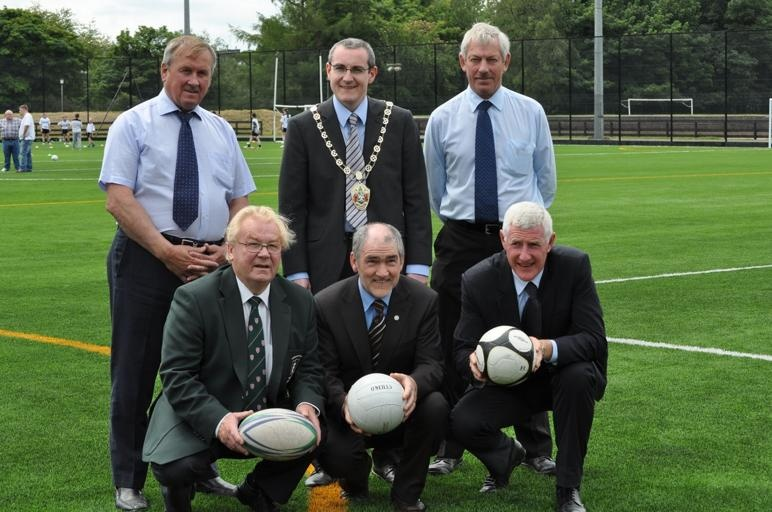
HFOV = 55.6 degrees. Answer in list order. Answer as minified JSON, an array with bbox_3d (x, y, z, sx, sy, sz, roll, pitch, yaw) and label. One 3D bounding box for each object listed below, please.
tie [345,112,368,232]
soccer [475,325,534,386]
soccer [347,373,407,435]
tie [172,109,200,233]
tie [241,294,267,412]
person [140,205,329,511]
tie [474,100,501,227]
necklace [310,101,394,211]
[{"bbox_3d":[-0.271,-0.663,5.803,0.213,0.810,0.238,0,-2,-5],"label":"tie"},{"bbox_3d":[0.835,0.717,5.110,0.402,0.433,0.183,0,15,3],"label":"soccer"},{"bbox_3d":[-0.054,0.946,5.026,0.374,0.378,0.404,4,4,35],"label":"soccer"},{"bbox_3d":[-1.424,-0.639,5.186,0.184,0.757,0.180,0,-2,-15],"label":"tie"},{"bbox_3d":[-0.857,0.665,4.866,0.170,0.664,0.182,1,0,-2],"label":"tie"},{"bbox_3d":[-1.021,0.718,4.987,1.030,2.213,0.931,1,2,42],"label":"person"},{"bbox_3d":[0.818,-0.757,6.026,0.244,0.824,0.249,0,-2,-1],"label":"tie"},{"bbox_3d":[-0.289,-0.763,5.817,0.802,1.157,0.316,-3,-8,-12],"label":"necklace"}]
